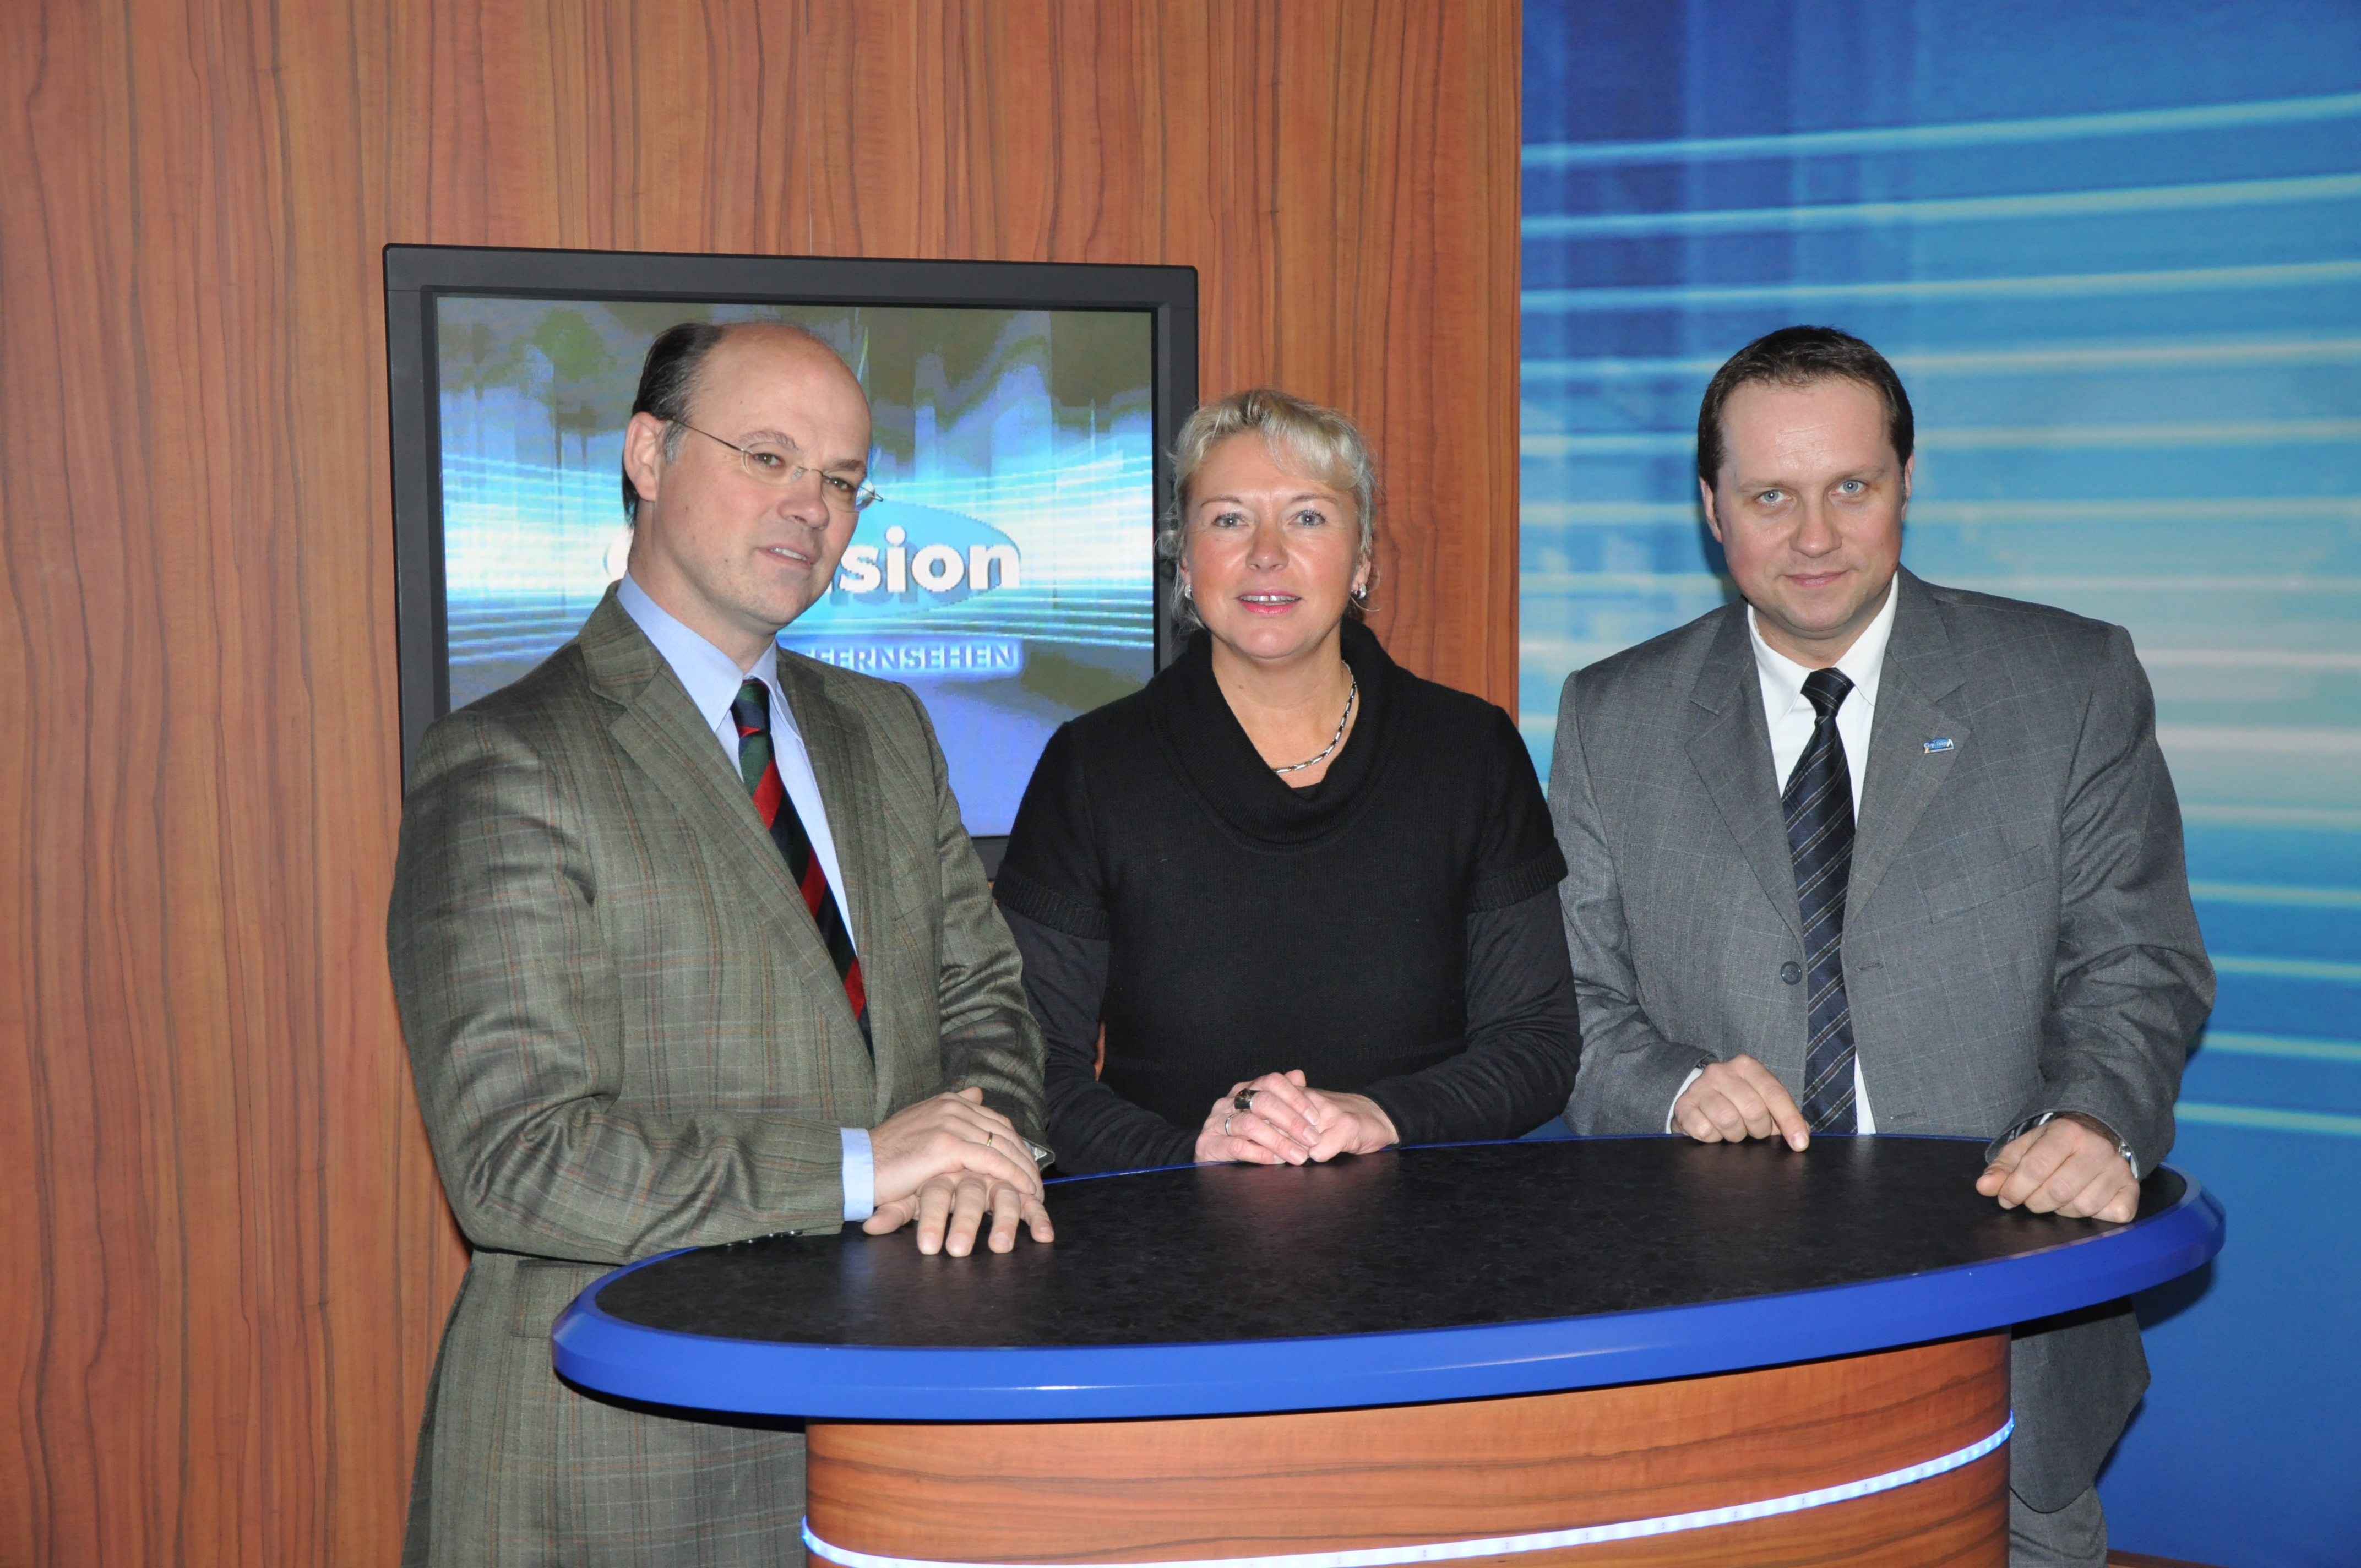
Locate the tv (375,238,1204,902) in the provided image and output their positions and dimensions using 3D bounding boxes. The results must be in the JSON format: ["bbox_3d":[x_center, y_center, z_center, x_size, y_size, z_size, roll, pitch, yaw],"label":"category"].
[{"bbox_3d":[-0.803,-0.414,3.814,1.600,1.052,0.130,-1,5,-19],"label":"tv"}]

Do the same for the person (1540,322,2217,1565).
[{"bbox_3d":[1.170,-0.084,3.507,1.129,1.412,0.720,1,9,25],"label":"person"}]
